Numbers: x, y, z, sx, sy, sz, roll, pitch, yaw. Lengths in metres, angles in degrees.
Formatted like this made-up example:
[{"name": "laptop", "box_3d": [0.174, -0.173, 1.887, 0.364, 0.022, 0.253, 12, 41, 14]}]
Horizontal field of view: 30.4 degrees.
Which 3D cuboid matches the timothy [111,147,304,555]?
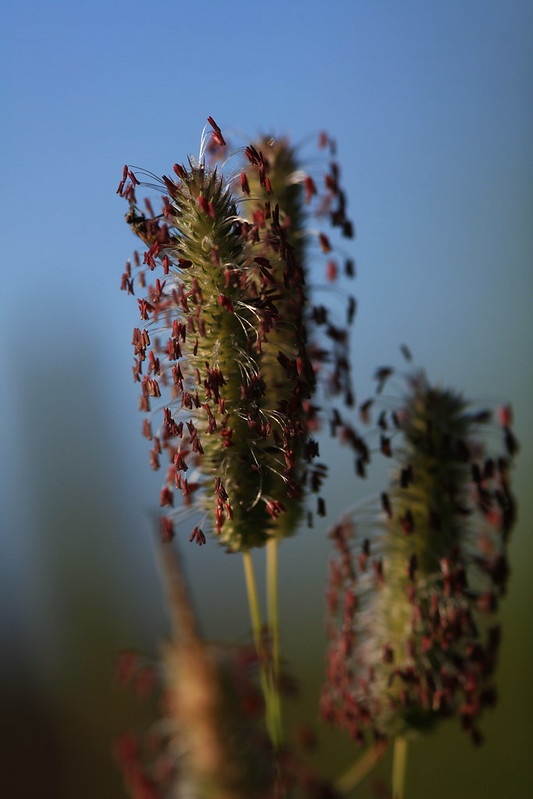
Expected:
[{"name": "timothy", "box_3d": [-0.063, -0.047, 1.183, 0.208, 0.479, 0.266, -14, 9, -7]}]
